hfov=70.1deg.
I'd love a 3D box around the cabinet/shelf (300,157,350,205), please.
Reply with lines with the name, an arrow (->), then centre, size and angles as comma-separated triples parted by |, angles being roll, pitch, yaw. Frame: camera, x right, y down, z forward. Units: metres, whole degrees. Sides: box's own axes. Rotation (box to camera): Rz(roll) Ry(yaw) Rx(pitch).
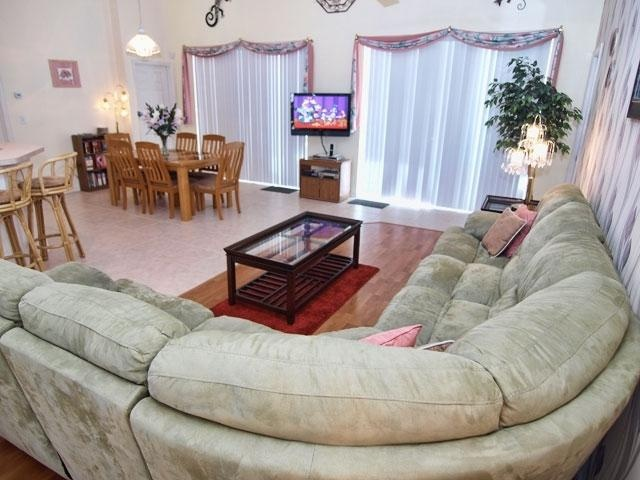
cabinet/shelf -> 0.069, -0.887, 6.842 | 0.623, 0.518, 0.317 | 11, 26, 24

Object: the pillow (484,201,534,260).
pillow -> 1.454, -0.066, 3.529 | 0.121, 0.387, 0.403 | 24, 18, -7

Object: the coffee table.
coffee table -> -0.195, 0.180, 4.059 | 0.678, 0.511, 1.239 | 12, 24, 28
